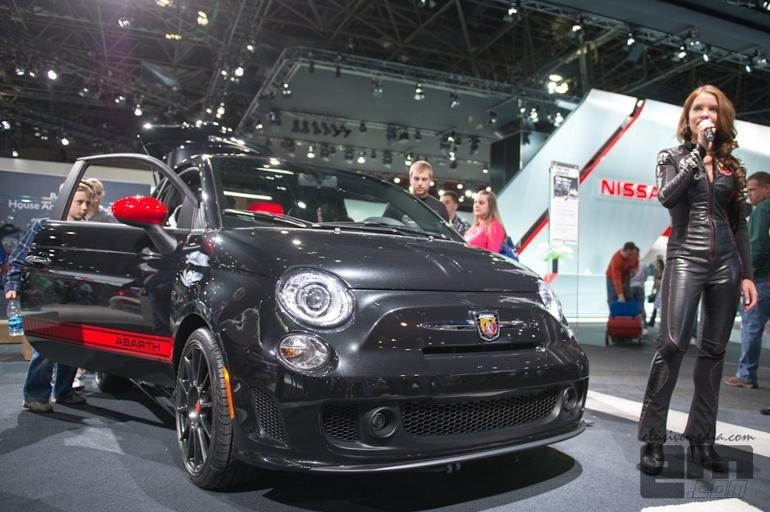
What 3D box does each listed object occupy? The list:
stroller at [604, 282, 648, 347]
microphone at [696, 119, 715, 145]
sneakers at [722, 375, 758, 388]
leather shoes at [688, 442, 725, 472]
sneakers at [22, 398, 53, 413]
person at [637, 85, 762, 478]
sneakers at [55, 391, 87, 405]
[{"bbox_3d":[4.107,1.147,8.696,0.668,0.897,0.978,8,-5,-5],"label":"stroller"},{"bbox_3d":[1.894,-0.731,2.812,0.057,0.053,0.189,10,31,10],"label":"microphone"},{"bbox_3d":[3.745,1.296,5.060,0.106,0.116,0.259,-4,7,-37],"label":"sneakers"},{"bbox_3d":[1.954,1.224,2.947,0.093,0.101,0.268,2,-10,-12],"label":"leather shoes"},{"bbox_3d":[-2.866,1.207,3.950,0.264,0.117,0.096,2,1,15],"label":"sneakers"},{"bbox_3d":[1.911,0.114,2.931,0.752,2.308,0.313,1,0,-24],"label":"person"},{"bbox_3d":[-2.718,1.222,4.152,0.230,0.094,0.108,-2,0,-2],"label":"sneakers"}]
